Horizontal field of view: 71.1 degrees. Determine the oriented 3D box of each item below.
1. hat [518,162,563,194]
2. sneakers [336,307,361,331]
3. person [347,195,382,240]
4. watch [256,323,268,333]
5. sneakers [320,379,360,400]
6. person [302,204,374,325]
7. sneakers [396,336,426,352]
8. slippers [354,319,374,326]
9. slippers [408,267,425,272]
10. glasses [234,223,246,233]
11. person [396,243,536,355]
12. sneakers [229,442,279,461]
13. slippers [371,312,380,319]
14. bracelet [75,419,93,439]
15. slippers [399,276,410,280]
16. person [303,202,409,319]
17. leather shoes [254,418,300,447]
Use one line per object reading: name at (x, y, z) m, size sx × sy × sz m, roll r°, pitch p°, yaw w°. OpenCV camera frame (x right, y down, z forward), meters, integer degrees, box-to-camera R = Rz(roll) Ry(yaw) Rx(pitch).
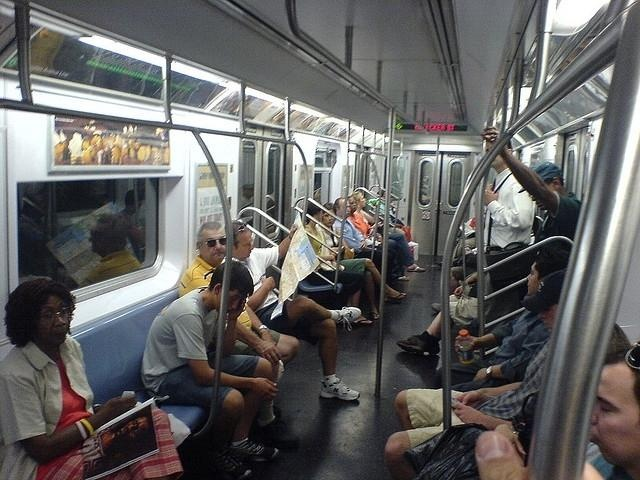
hat at (1.679, -0.463, 3.378) m, size 0.321 × 0.173 × 0.216 m, roll 21°, pitch 7°, yaw 1°
sneakers at (0.389, 1.043, 5.946) m, size 0.236 × 0.197 × 0.598 m, roll -1°, pitch -4°, yaw 31°
person at (0.817, -0.387, 8.436) m, size 0.334 × 0.356 × 0.920 m, roll -6°, pitch -26°, yaw 19°
watch at (-0.494, 0.754, 3.849) m, size 0.067 × 0.067 × 0.044 m, roll 10°, pitch -3°, yaw 4°
sneakers at (0.173, 1.395, 4.225) m, size 0.397 × 0.179 × 0.149 m, roll 1°, pitch 7°, yaw 4°
person at (0.363, 0.294, 6.729) m, size 0.927 × 1.812 × 0.641 m, roll -9°, pitch -4°, yaw 36°
sneakers at (1.085, 1.229, 5.283) m, size 0.364 × 0.166 × 0.141 m, roll 6°, pitch -14°, yaw 0°
slippers at (0.616, 1.158, 6.313) m, size 0.273 × 0.107 × 0.090 m, roll 5°, pitch 7°, yaw 7°
slippers at (2.201, 0.683, 10.246) m, size 0.367 × 0.130 × 0.142 m, roll 0°, pitch 16°, yaw -4°
glasses at (-0.740, -0.104, 4.074) m, size 0.068 × 0.077 × 0.058 m, roll 17°, pitch 37°, yaw -9°
person at (1.688, 0.735, 5.454) m, size 1.825 × 0.743 × 0.565 m, roll -20°, pitch 13°, yaw -22°
sneakers at (-0.471, 1.490, 3.216) m, size 0.389 × 0.165 × 0.124 m, roll 7°, pitch 5°, yaw -14°
slippers at (0.791, 1.111, 6.539) m, size 0.105 × 0.092 × 0.074 m, roll 5°, pitch 8°, yaw 15°
bracelet at (-1.157, 0.918, 2.208) m, size 0.031 × 0.069 × 0.083 m, roll -24°, pitch 64°, yaw -30°
slippers at (1.722, 0.787, 9.203) m, size 0.142 × 0.055 × 0.088 m, roll -3°, pitch 6°, yaw 6°
person at (0.775, 0.234, 7.078) m, size 0.767 × 1.884 × 1.494 m, roll -14°, pitch 16°, yaw -2°
leather shoes at (-0.311, 1.497, 3.539) m, size 0.396 × 0.267 × 0.134 m, roll 0°, pitch 14°, yaw 9°
